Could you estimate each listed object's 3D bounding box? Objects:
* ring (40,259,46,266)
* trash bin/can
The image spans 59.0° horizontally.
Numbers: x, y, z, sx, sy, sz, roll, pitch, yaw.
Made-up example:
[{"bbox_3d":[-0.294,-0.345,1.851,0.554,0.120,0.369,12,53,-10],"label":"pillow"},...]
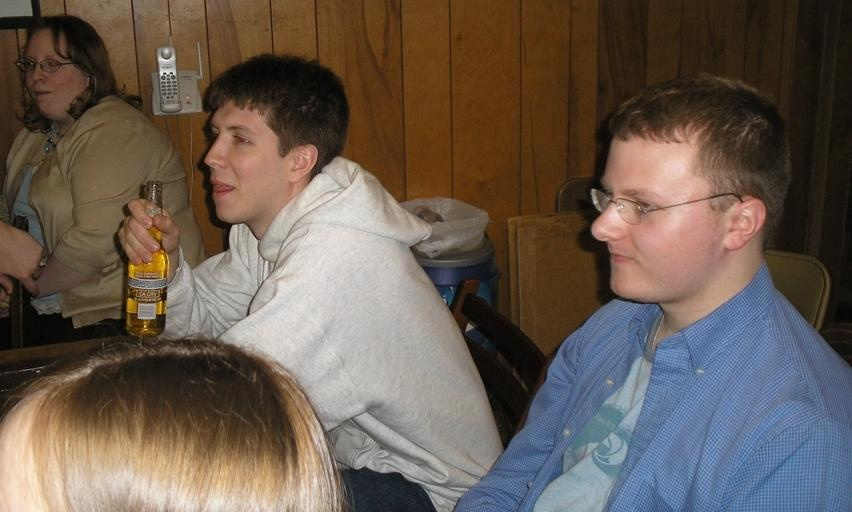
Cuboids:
[{"bbox_3d":[-1.612,0.026,3.162,0.011,0.014,0.032,2,43,-12],"label":"ring"},{"bbox_3d":[0.129,-0.017,3.500,0.484,0.505,0.475,-4,6,-10],"label":"trash bin/can"}]
